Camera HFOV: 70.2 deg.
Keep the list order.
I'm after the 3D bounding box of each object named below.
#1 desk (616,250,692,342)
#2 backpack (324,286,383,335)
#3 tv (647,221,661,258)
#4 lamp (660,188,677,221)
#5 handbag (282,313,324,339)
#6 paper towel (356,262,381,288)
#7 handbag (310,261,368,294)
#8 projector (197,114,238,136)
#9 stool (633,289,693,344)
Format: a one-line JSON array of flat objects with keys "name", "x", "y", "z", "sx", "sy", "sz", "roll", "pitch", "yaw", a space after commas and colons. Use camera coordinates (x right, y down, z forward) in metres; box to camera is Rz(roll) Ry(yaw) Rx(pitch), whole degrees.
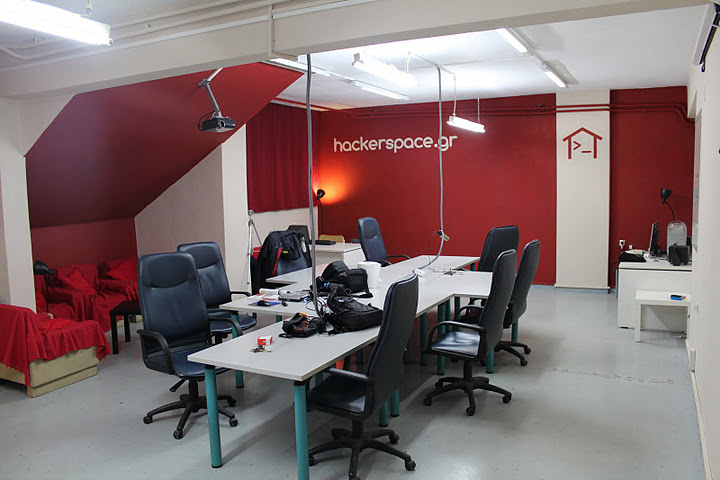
[{"name": "desk", "x": 3.870, "y": 0.761, "z": 6.775, "sx": 0.899, "sy": 0.800, "sz": 0.907, "roll": 0, "pitch": 2, "yaw": 24}, {"name": "backpack", "x": -0.003, "y": 0.743, "z": 4.724, "sx": 0.479, "sy": 0.184, "sz": 0.525, "roll": -10, "pitch": -9, "yaw": -6}, {"name": "tv", "x": 4.488, "y": -0.014, "z": 7.804, "sx": 0.184, "sy": 0.581, "sz": 0.561, "roll": 2, "pitch": 2, "yaw": 24}, {"name": "lamp", "x": 4.966, "y": -0.572, "z": 8.310, "sx": 0.396, "sy": 0.551, "sz": 0.267, "roll": -13, "pitch": 18, "yaw": -41}, {"name": "handbag", "x": -0.512, "y": 0.756, "z": 4.482, "sx": 0.220, "sy": 0.084, "sz": 0.221, "roll": 2, "pitch": 4, "yaw": 41}, {"name": "paper towel", "x": 0.113, "y": 0.390, "z": 5.682, "sx": 0.219, "sy": 0.269, "sz": 0.272, "roll": 1, "pitch": -3, "yaw": -16}, {"name": "handbag", "x": -0.222, "y": 0.417, "z": 5.589, "sx": 0.410, "sy": 0.360, "sz": 0.577, "roll": -5, "pitch": 0, "yaw": -44}, {"name": "projector", "x": -1.718, "y": -1.411, "z": 6.205, "sx": 0.515, "sy": 0.247, "sz": 0.406, "roll": 0, "pitch": 8, "yaw": -18}, {"name": "stool", "x": 3.771, "y": 0.915, "z": 6.474, "sx": 0.612, "sy": 0.495, "sz": 0.653, "roll": 2, "pitch": 8, "yaw": 26}]
